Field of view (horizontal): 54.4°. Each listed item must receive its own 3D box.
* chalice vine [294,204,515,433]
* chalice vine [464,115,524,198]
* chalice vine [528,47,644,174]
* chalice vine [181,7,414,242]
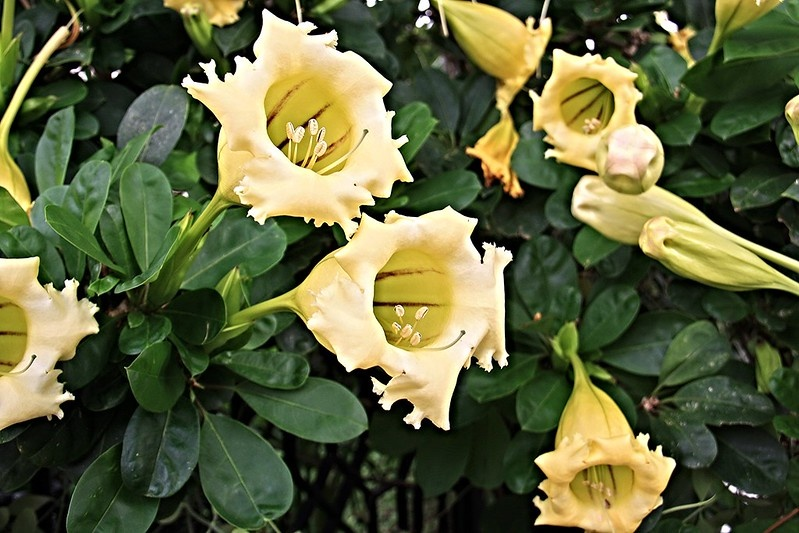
[{"bbox_3d":[-0.045,0.052,1.397,0.370,0.226,0.377,26,75,-32],"label":"chalice vine"},{"bbox_3d":[0.222,-0.225,1.746,0.110,0.174,0.138,21,67,22],"label":"chalice vine"},{"bbox_3d":[0.354,-0.307,1.523,0.205,0.147,0.205,19,81,2],"label":"chalice vine"},{"bbox_3d":[-0.158,-0.221,1.292,0.315,0.152,0.356,-43,84,-7],"label":"chalice vine"}]
